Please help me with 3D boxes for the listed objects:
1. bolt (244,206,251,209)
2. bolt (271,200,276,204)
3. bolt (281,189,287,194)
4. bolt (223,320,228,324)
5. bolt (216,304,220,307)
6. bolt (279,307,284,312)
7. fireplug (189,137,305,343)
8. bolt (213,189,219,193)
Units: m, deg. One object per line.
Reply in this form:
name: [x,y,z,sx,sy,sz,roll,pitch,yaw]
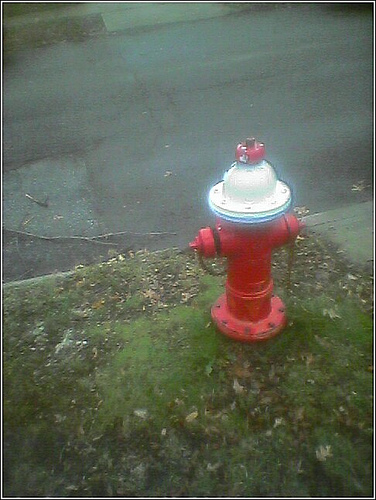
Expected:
bolt: [0.383,-0.272,3.033,0.043,0.004,0.030,-1,26,14]
bolt: [0.554,-0.317,3.083,0.023,0.038,0.025,-3,5,-33]
bolt: [0.649,-0.402,3.214,0.037,0.013,0.061,-3,26,9]
bolt: [0.296,0.567,3.746,0.027,0.024,0.024,-1,10,1]
bolt: [0.253,0.456,3.935,0.028,0.024,0.023,0,3,-20]
bolt: [0.754,0.479,3.840,0.031,0.025,0.007,-4,-12,0]
fireplug: [0.432,-0.017,3.402,0.792,1.596,0.481,-5,30,12]
bolt: [0.196,-0.411,3.281,0.038,0.030,0.008,-3,-12,7]
